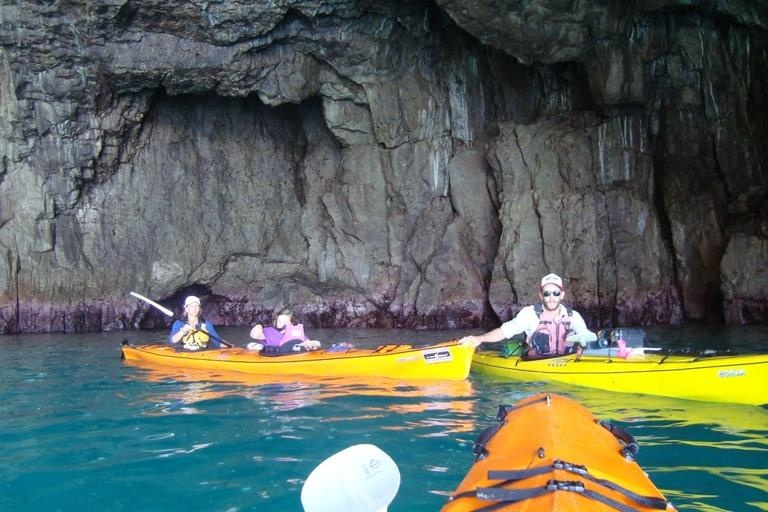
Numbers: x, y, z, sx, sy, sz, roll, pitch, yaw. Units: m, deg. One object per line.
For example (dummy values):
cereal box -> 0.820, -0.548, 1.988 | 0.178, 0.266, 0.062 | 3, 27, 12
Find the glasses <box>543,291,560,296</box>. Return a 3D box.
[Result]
glasses -> 2.950, 0.638, 14.778 | 0.296, 0.091, 0.079 | -1, -6, 9

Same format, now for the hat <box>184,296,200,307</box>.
hat -> -3.769, 0.868, 16.787 | 0.244, 0.195, 0.214 | 1, -6, -7

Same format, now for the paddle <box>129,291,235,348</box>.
paddle -> -5.056, 1.528, 20.948 | 2.255, 0.167, 0.144 | 29, -7, 9

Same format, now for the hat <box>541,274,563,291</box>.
hat -> 3.011, 0.426, 15.087 | 0.341, 0.296, 0.709 | -1, -7, 14

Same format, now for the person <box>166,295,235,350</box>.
person -> -3.780, 1.465, 17.114 | 0.804, 1.455, 0.505 | -8, -9, -25
